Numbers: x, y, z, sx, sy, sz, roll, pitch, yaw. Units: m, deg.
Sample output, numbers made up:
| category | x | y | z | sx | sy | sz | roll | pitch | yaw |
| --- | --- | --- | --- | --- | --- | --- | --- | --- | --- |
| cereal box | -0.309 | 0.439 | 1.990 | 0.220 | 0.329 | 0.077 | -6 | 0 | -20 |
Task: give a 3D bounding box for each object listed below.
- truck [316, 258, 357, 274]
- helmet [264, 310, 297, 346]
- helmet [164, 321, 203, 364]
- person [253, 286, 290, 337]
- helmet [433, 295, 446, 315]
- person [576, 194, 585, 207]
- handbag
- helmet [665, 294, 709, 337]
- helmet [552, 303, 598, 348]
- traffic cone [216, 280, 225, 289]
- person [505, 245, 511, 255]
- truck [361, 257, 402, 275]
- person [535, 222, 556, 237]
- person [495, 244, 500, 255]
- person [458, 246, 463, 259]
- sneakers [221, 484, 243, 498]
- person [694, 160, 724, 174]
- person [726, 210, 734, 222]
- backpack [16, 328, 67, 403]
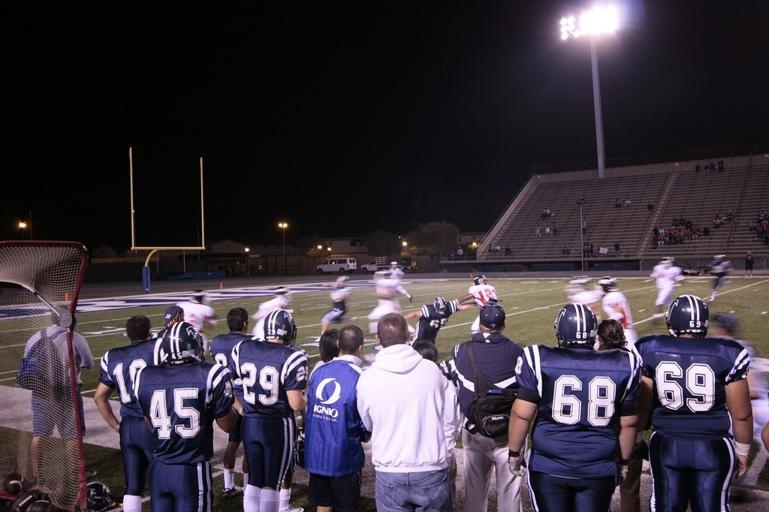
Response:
| category | x | y | z | sx | sy | sz | roll | pitch | yaw |
| --- | --- | --- | --- | --- | --- | --- | --- | --- | --- |
| truck | -4.244 | 0.773 | 56.587 | 2.675 | 1.180 | 1.604 | 2 | 1 | 13 |
| helmet | -1.062 | 0.719 | 6.506 | 0.313 | 0.415 | 0.420 | -1 | -7 | 11 |
| helmet | -1.886 | 0.778 | 5.854 | 0.367 | 0.413 | 0.482 | -3 | -11 | -2 |
| person | -1.958 | 0.882 | 10.870 | 0.384 | 0.406 | 1.044 | 14 | -26 | -30 |
| helmet | 0.809 | 0.661 | 8.997 | 0.178 | 0.198 | 0.215 | 0 | -3 | -15 |
| person | 15.652 | -4.477 | 50.847 | 0.361 | 0.933 | 0.931 | -2 | 5 | 26 |
| handbag | 1.077 | 1.231 | 6.221 | 0.486 | 0.771 | 0.817 | -2 | 24 | 9 |
| helmet | 2.755 | 0.527 | 5.795 | 0.333 | 0.404 | 0.456 | 2 | -9 | 15 |
| helmet | 1.715 | 0.628 | 5.669 | 0.386 | 0.465 | 0.474 | 0 | -4 | 4 |
| traffic cone | -9.410 | 1.560 | 36.527 | 0.345 | 0.386 | 0.348 | -2 | -1 | 32 |
| person | 9.352 | -0.480 | 47.977 | 0.449 | 0.768 | 1.285 | -4 | -4 | 12 |
| truck | -0.425 | 0.702 | 55.941 | 3.180 | 1.478 | 1.890 | 1 | 0 | 11 |
| person | 12.520 | -2.068 | 49.102 | 1.693 | 1.085 | 1.527 | -5 | -4 | 26 |
| person | 8.748 | -0.665 | 48.982 | 0.469 | 0.828 | 1.863 | -3 | -4 | 11 |
| person | 6.194 | -0.243 | 51.576 | 0.542 | 0.809 | 2.297 | -3 | -4 | 7 |
| sneakers | -1.648 | 2.525 | 6.919 | 0.239 | 0.112 | 0.088 | 4 | -7 | -22 |
| person | 24.821 | -6.760 | 48.515 | 0.901 | 1.160 | 1.969 | -1 | -4 | -34 |
| person | 22.873 | -2.656 | 42.080 | 0.490 | 0.507 | 0.850 | -5 | -4 | 29 |
| backpack | -3.115 | 0.963 | 5.899 | 0.627 | 0.663 | 0.129 | -6 | -4 | 38 |
